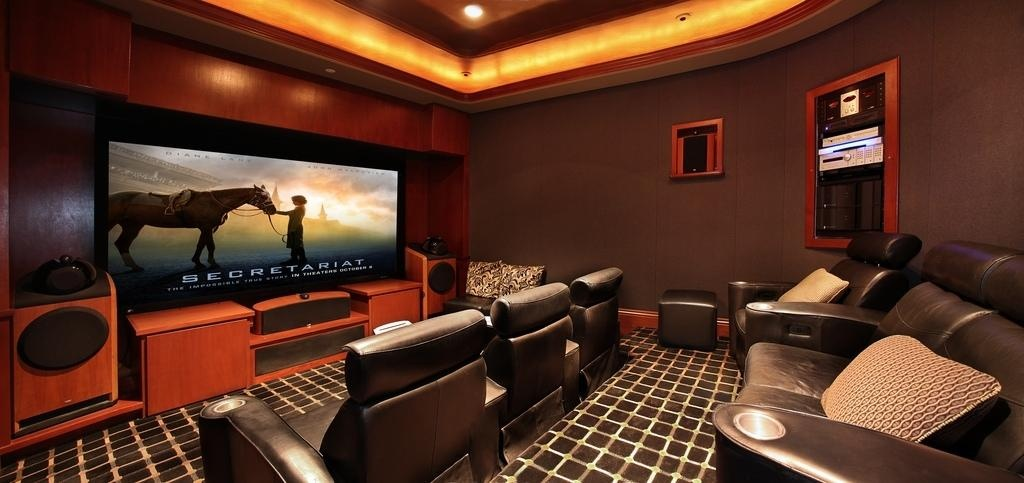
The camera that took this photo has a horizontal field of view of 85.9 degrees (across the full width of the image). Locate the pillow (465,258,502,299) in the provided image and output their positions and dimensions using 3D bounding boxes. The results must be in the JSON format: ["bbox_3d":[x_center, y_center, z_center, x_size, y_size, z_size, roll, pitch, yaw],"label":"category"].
[{"bbox_3d":[-0.455,0.606,8.564,0.633,0.494,0.178,-5,-17,27],"label":"pillow"}]

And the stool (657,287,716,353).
[{"bbox_3d":[2.303,1.049,7.265,0.750,0.704,0.404,-2,6,12],"label":"stool"}]

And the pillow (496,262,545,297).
[{"bbox_3d":[0.154,0.552,8.321,0.614,0.490,0.174,3,-19,33],"label":"pillow"}]

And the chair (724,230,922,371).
[{"bbox_3d":[3.839,0.698,6.859,2.033,1.625,1.931,1,2,31],"label":"chair"}]

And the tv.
[{"bbox_3d":[-3.665,-0.437,7.369,3.867,1.959,0.071,-1,0,-40],"label":"tv"}]
